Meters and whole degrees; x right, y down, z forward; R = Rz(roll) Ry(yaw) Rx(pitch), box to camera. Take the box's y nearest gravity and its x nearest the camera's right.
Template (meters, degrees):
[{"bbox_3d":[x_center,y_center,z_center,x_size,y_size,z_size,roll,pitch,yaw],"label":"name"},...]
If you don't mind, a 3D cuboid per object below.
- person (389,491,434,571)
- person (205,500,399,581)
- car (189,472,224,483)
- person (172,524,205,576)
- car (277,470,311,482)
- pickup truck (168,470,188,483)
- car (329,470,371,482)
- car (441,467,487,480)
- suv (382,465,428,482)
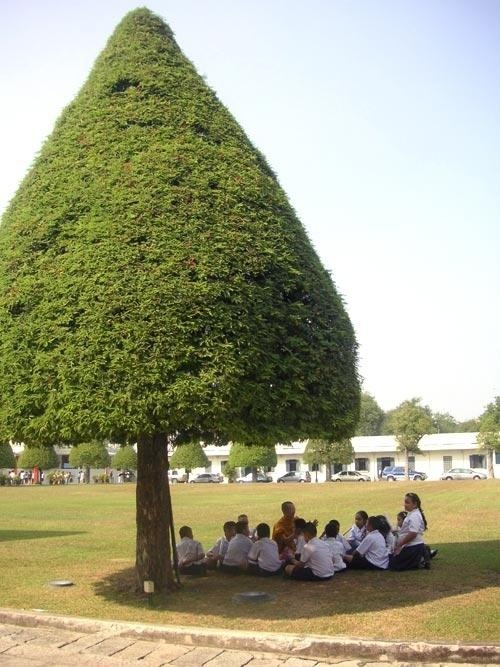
[{"bbox_3d":[2.414,3.005,10.944,0.750,1.104,0.626,-4,-10,20],"label":"person"},{"bbox_3d":[1.161,3.207,10.881,2.088,0.818,1.366,6,-15,-42],"label":"person"},{"bbox_3d":[-3.721,12.319,60.913,2.252,0.670,1.090,1,-8,10],"label":"car"},{"bbox_3d":[-0.884,3.268,10.816,0.396,0.705,0.465,-3,-12,-5],"label":"person"},{"bbox_3d":[3.881,12.069,60.061,2.337,0.785,1.257,2,-5,17],"label":"car"},{"bbox_3d":[-6.568,13.045,65.807,1.541,1.072,6.512,-3,-11,-6],"label":"pickup truck"},{"bbox_3d":[8.357,11.804,58.984,2.842,0.806,1.299,-3,-5,13],"label":"car"},{"bbox_3d":[16.820,11.040,56.117,3.137,0.890,1.311,-4,-5,13],"label":"car"},{"bbox_3d":[13.133,11.752,59.302,4.374,1.344,1.807,-3,-5,13],"label":"suv"}]
